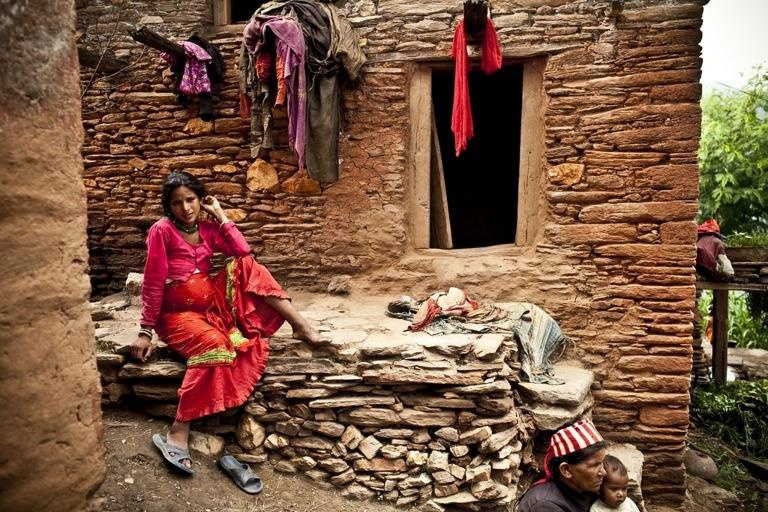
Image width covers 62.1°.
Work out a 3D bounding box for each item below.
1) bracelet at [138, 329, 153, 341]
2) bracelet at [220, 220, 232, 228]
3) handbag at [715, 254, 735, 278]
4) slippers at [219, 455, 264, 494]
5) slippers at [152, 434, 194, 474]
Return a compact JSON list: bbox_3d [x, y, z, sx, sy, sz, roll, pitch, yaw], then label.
[{"bbox_3d":[-2.046,0.674,5.504,0.110,0.041,0.106,2,-29,28],"label":"bracelet"},{"bbox_3d":[-1.400,-0.282,5.735,0.076,0.046,0.070,0,-3,1],"label":"bracelet"},{"bbox_3d":[4.675,0.142,8.649,0.296,0.293,0.151,3,3,-35],"label":"handbag"},{"bbox_3d":[-1.198,1.867,5.425,0.477,0.105,0.206,20,24,35],"label":"slippers"},{"bbox_3d":[-1.726,1.617,5.236,0.476,0.134,0.179,29,18,26],"label":"slippers"}]
